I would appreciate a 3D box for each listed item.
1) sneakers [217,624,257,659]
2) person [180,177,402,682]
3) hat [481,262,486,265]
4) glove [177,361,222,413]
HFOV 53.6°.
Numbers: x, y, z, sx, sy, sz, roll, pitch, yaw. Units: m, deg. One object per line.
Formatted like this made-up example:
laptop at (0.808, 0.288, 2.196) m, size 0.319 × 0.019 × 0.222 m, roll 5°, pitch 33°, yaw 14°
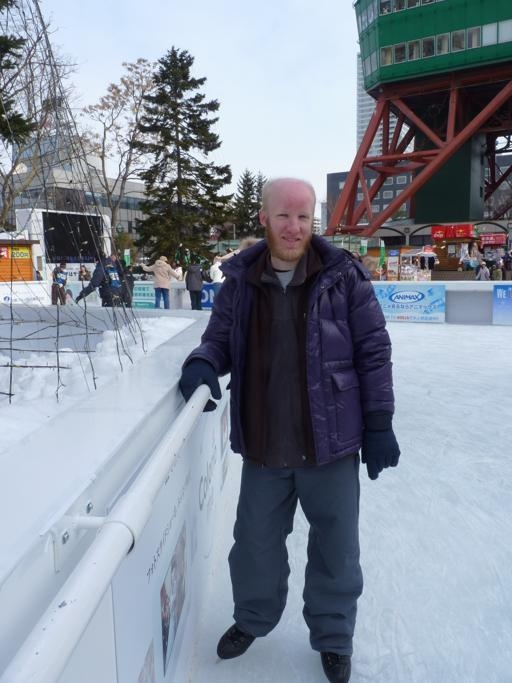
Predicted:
sneakers at (-0.064, 1.050, 1.825) m, size 0.060 × 0.073 × 0.180 m, roll 27°, pitch 2°, yaw 26°
person at (0.152, 0.360, 1.697) m, size 0.622 × 1.520 × 0.264 m, roll -1°, pitch 7°, yaw 20°
hat at (7.518, -2.575, 16.714) m, size 0.104 × 0.178 × 0.273 m, roll -1°, pitch 7°, yaw 18°
glove at (-0.177, 0.165, 1.664) m, size 0.116 × 0.149 × 0.209 m, roll -26°, pitch 4°, yaw -14°
